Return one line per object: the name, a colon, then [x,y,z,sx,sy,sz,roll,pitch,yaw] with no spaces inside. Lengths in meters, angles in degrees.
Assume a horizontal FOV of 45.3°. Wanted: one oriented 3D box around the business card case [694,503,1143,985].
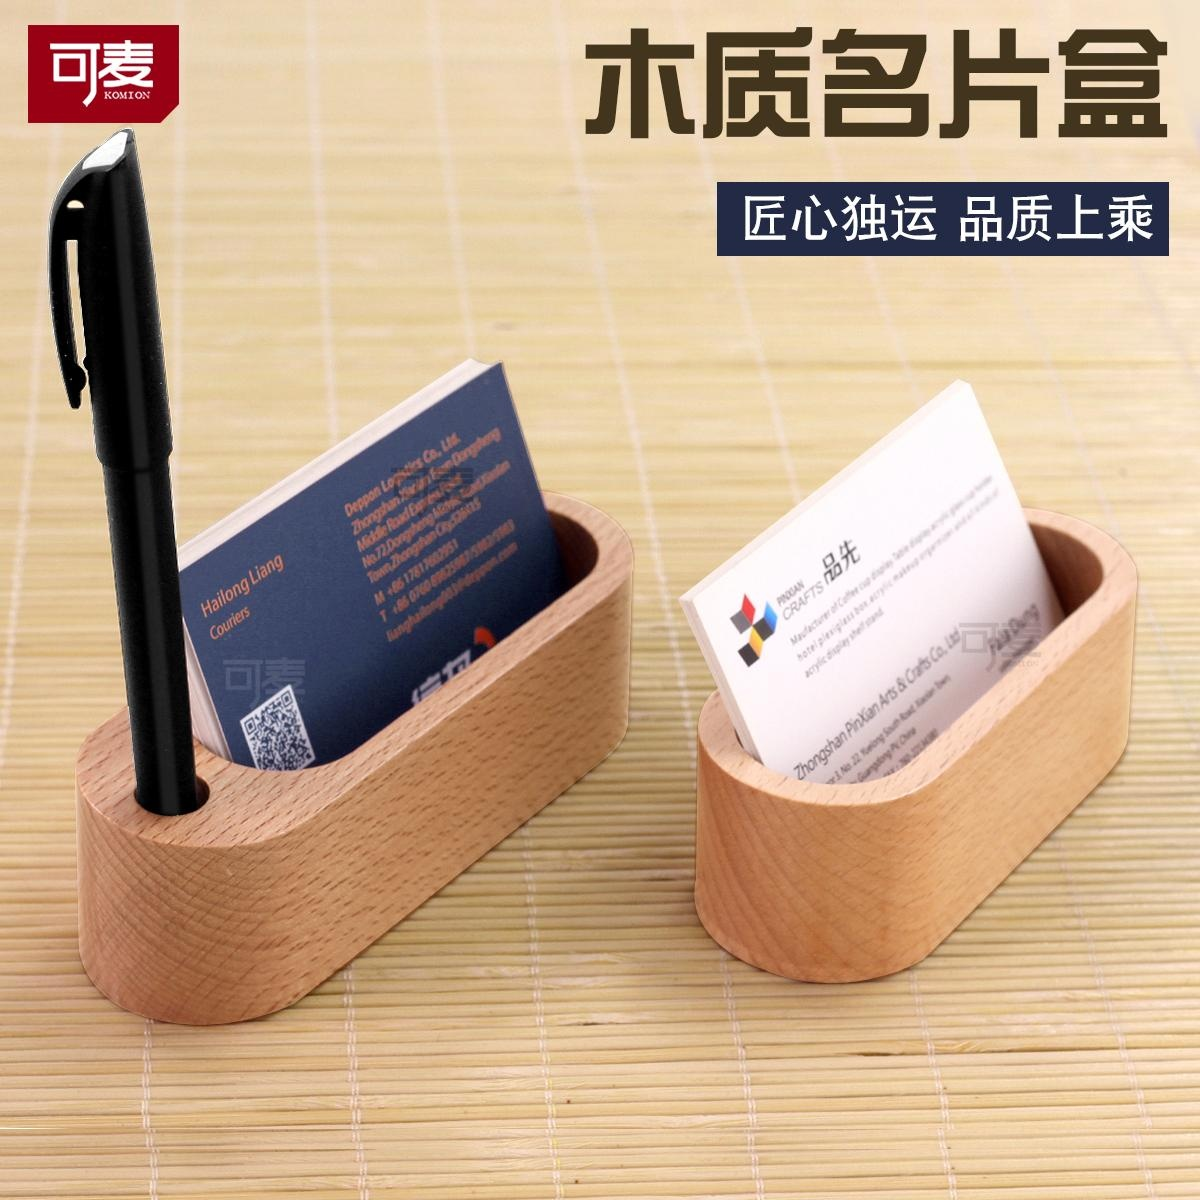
business card case: [0.137,0.056,0.666,0.147,0.087,0.305,17,33,36]
